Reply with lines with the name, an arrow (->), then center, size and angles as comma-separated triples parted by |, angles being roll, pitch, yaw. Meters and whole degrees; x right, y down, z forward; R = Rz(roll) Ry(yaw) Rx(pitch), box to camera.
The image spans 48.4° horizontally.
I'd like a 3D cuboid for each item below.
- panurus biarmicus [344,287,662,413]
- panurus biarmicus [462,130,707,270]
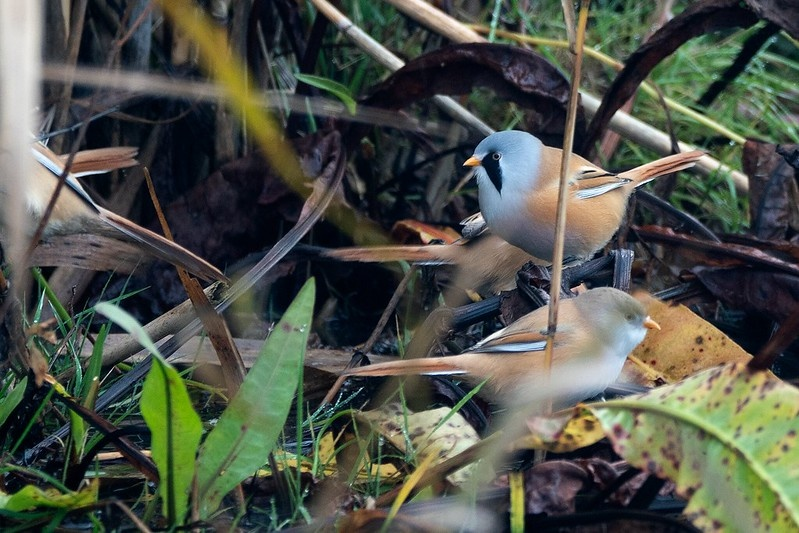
panurus biarmicus -> 0.512, 0.368, 3.358 | 1.032, 0.631, 0.506 | 0, 42, -18
panurus biarmicus -> 0.752, -0.270, 4.031 | 0.932, 0.446, 0.501 | 9, 40, -8
